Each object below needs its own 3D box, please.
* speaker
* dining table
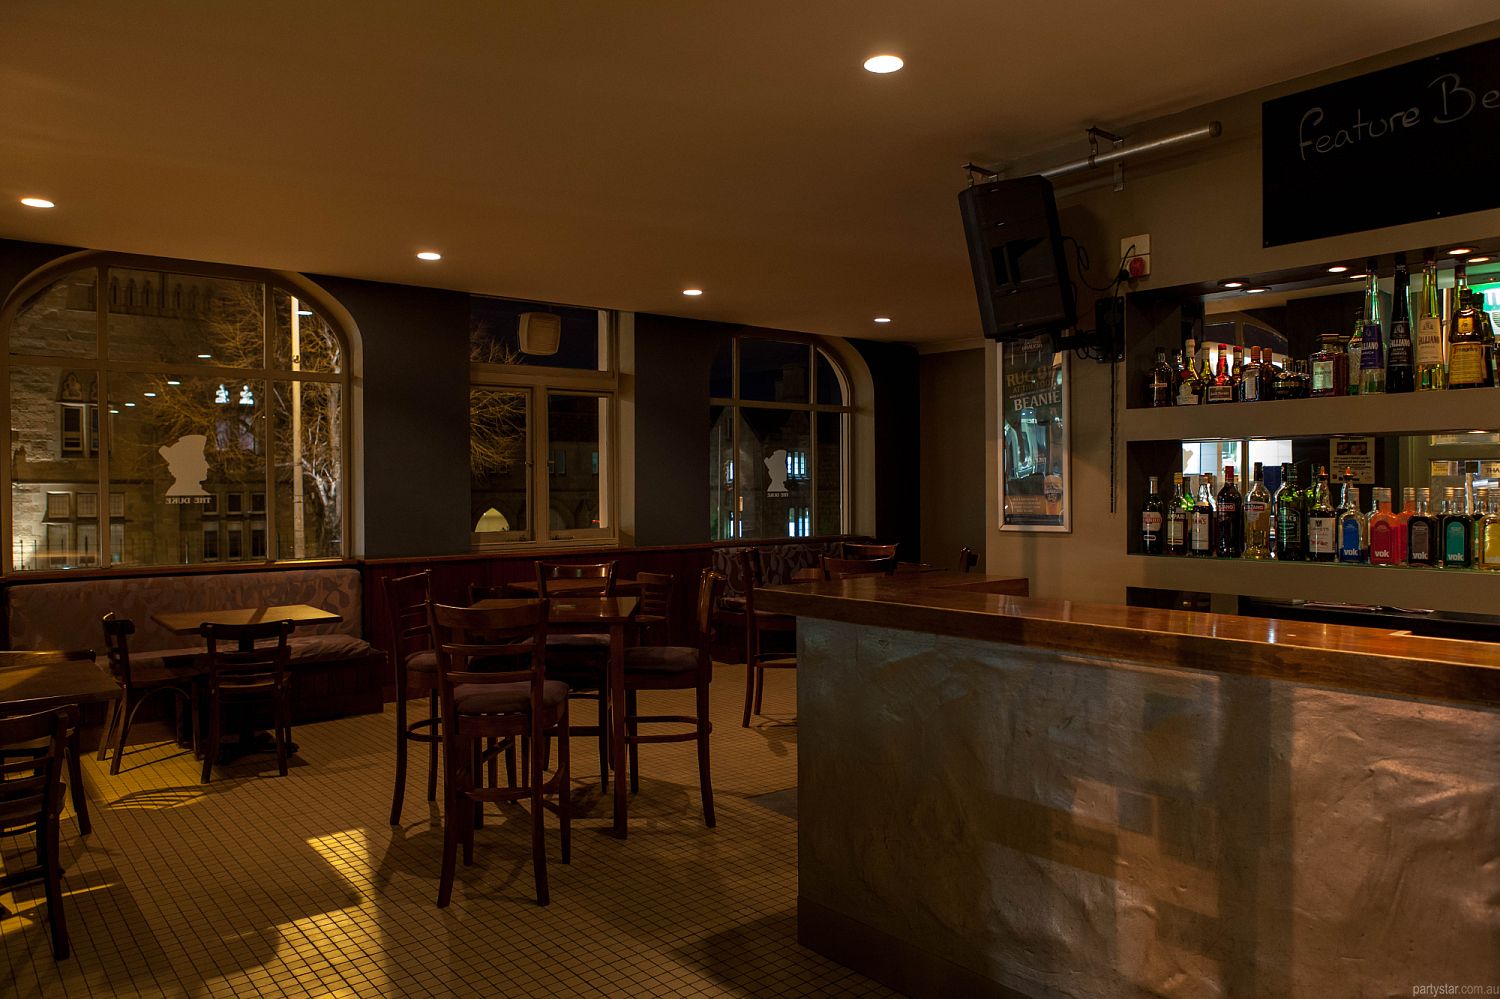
[{"bbox_3d":[1.495,-1.236,6.042,0.478,0.935,0.530,-6,-17,2],"label":"speaker"},{"bbox_3d":[-3.449,1.070,7.344,1.061,1.046,1.057,-1,5,-32],"label":"dining table"}]
